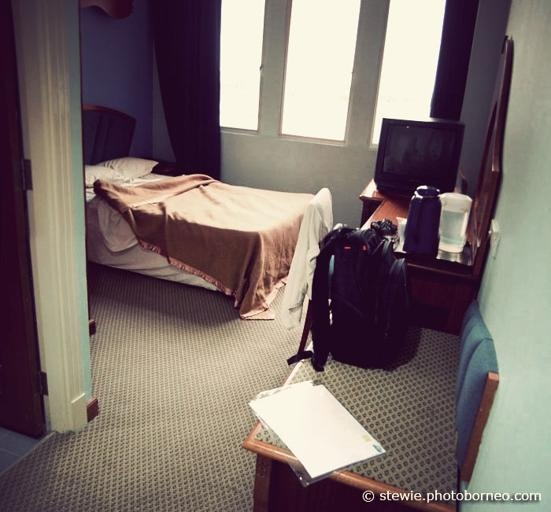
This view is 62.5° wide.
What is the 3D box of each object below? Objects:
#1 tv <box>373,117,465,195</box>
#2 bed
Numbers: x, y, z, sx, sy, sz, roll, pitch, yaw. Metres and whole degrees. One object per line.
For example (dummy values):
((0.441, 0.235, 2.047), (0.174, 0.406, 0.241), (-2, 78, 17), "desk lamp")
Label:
((1.079, -0.760, 3.460), (0.539, 0.660, 0.582), (7, 27, 16), "tv")
((-0.734, -0.293, 3.646), (1.587, 0.739, 1.318), (13, 30, 17), "bed")
